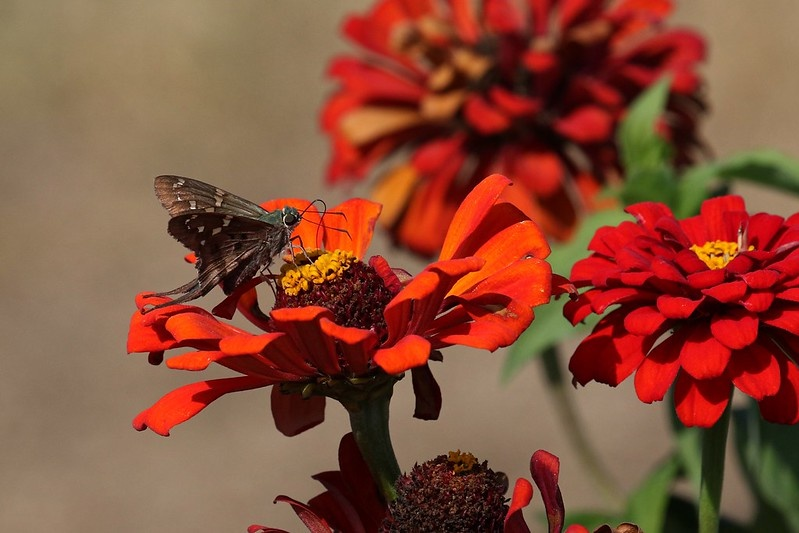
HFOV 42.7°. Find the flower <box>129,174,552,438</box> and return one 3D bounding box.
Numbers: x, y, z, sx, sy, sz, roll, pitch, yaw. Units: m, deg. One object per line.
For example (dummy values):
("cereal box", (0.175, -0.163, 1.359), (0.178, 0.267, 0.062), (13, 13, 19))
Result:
("flower", (-0.050, 0.104, 1.077), (0.391, 0.168, 0.381), (-16, -2, 34))

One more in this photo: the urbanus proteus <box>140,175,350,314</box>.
("urbanus proteus", (-0.168, -0.028, 1.090), (0.169, 0.088, 0.175), (-10, 4, -2))
